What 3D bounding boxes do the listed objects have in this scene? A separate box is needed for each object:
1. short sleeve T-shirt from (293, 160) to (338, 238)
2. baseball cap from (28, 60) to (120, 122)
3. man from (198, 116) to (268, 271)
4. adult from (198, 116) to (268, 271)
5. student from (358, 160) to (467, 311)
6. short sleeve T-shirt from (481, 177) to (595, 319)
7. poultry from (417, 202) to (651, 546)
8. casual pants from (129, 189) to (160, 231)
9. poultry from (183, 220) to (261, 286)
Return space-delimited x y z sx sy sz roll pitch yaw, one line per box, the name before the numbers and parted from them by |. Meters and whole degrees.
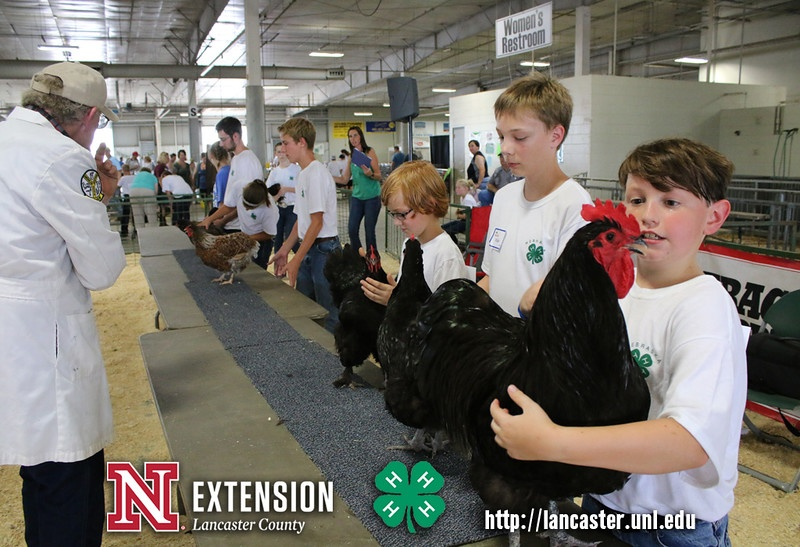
short sleeve T-shirt | -0.691 -0.590 4.315 0.341 0.669 0.434 -5 15 -9
baseball cap | -1.444 -0.828 2.394 0.225 0.206 0.333 22 4 41
man | -1.657 -0.600 5.385 0.667 1.849 0.636 -14 22 -35
adult | -1.677 -0.668 5.473 0.661 1.890 0.617 -7 29 -19
student | 0.069 -0.271 2.677 0.648 0.938 0.507 -4 21 -7
short sleeve T-shirt | 0.528 -0.097 2.022 0.220 0.607 0.526 -3 9 -30
poultry | 0.390 0.277 1.695 0.405 1.019 0.710 -12 17 -32
casual pants | -5.250 -1.363 10.840 0.513 0.790 0.833 -10 16 -26
poultry | -1.363 -0.150 4.299 0.657 0.612 0.396 0 7 -10
